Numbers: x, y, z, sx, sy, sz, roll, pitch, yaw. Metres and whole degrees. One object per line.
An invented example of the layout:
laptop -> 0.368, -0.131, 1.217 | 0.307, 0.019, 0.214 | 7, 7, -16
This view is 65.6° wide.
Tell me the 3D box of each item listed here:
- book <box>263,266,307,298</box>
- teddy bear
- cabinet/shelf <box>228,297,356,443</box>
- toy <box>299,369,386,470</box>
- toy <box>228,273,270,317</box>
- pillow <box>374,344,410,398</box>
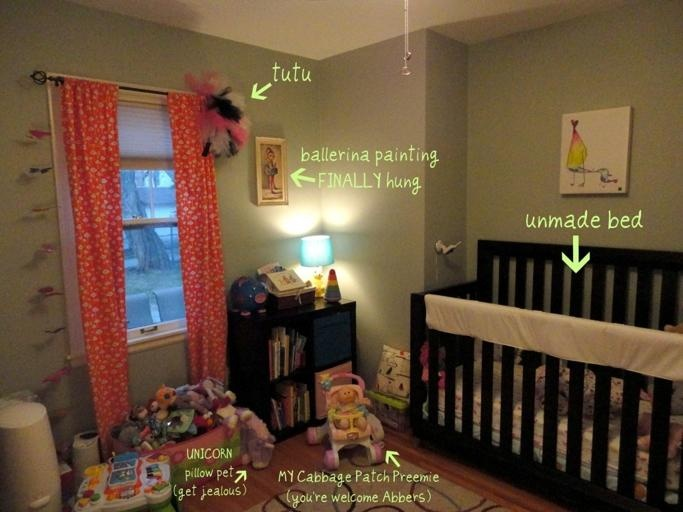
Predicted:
book -> -0.397, 0.196, 3.824 | 0.281, 0.164, 0.223 | -3, 8, 2
teddy bear -> -0.949, 1.048, 3.316 | 0.749, 0.355, 0.563 | 0, 3, 26
cabinet/shelf -> -0.381, 0.808, 3.662 | 0.873, 0.860, 0.334 | -8, 9, -40
toy -> 0.025, 1.040, 3.610 | 0.525, 0.673, 0.557 | -1, 1, -13
toy -> -0.651, 0.266, 3.687 | 0.214, 0.236, 0.273 | -6, 10, -31
pillow -> 0.372, 0.830, 3.793 | 0.141, 0.405, 0.371 | 15, -9, -37
